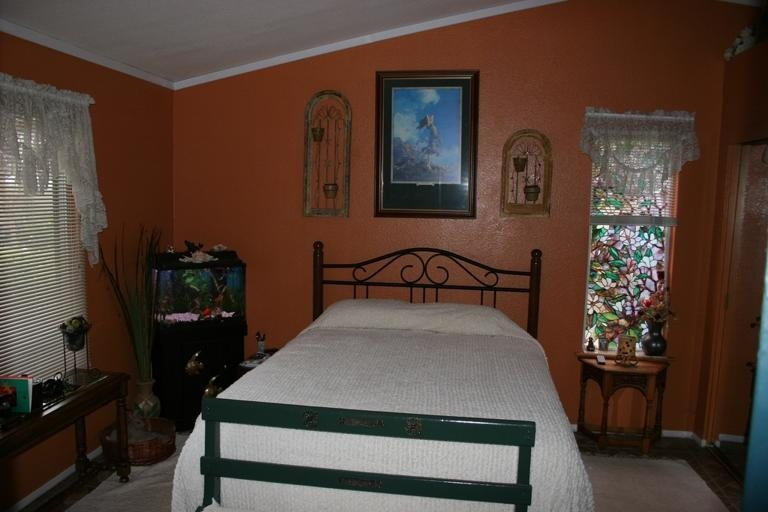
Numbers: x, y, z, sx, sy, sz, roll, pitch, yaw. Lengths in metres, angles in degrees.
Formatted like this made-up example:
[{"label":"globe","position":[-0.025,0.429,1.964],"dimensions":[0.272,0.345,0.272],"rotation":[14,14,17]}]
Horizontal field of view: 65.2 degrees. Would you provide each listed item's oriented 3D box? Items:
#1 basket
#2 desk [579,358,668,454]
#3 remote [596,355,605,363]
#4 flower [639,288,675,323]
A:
[{"label":"basket","position":[-2.028,1.551,5.026],"dimensions":[0.430,0.165,0.404],"rotation":[3,0,-39]},{"label":"desk","position":[2.171,1.213,5.656],"dimensions":[1.092,0.985,0.754],"rotation":[0,-3,12]},{"label":"remote","position":[1.966,0.910,5.417],"dimensions":[0.051,0.018,0.093],"rotation":[3,11,13]},{"label":"flower","position":[2.548,0.460,5.560],"dimensions":[0.327,0.297,0.279],"rotation":[2,6,13]}]
